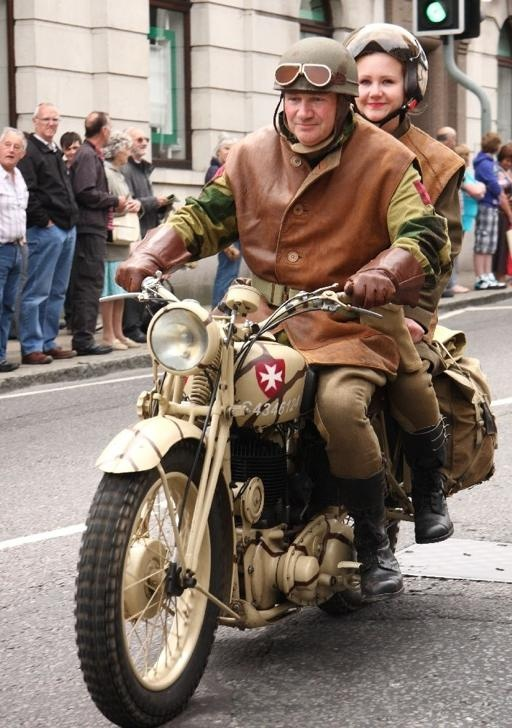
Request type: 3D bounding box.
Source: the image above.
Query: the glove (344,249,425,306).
[{"bbox_3d":[0.306,-0.190,1.940,0.236,0.104,0.139,-11,7,-42],"label":"glove"}]

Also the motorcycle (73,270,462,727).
[{"bbox_3d":[-0.062,0.303,2.001,0.444,1.058,1.033,-1,1,22],"label":"motorcycle"}]

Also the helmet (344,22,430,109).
[{"bbox_3d":[0.497,-1.111,3.075,0.335,0.339,0.337,1,14,8],"label":"helmet"}]

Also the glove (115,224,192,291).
[{"bbox_3d":[-0.309,-0.311,2.336,0.183,0.090,0.226,23,57,31],"label":"glove"}]

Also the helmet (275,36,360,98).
[{"bbox_3d":[0.163,-0.847,2.254,0.227,0.144,0.241,21,36,37],"label":"helmet"}]
